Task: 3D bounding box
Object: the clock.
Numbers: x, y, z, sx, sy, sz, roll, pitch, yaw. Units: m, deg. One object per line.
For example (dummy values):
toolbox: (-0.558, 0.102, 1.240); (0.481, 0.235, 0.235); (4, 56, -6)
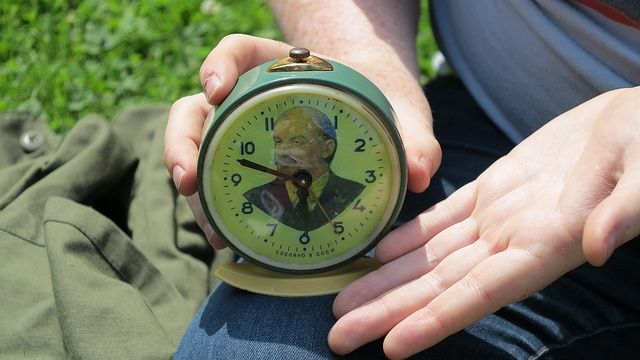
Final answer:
clock: (-0.073, 0.066, 2.446); (0.742, 0.336, 0.910); (-1, 63, -5)
